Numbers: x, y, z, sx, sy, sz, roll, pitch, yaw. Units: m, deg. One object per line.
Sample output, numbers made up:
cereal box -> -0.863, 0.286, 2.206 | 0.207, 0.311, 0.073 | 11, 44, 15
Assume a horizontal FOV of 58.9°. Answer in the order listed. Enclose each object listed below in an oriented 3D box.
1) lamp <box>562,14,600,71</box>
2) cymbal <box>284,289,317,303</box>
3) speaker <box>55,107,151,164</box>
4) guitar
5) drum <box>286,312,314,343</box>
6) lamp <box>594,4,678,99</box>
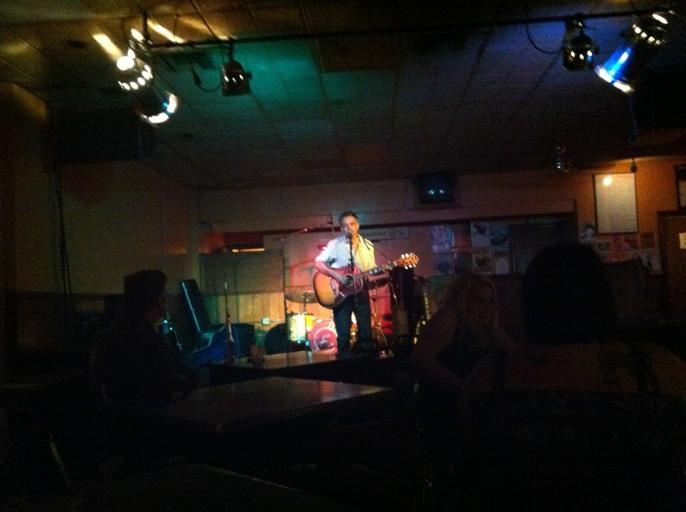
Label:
lamp -> 1.324, -1.164, 3.357 | 0.237, 0.267, 0.160 | 7, 21, 18
cymbal -> -0.385, 0.365, 5.479 | 0.260, 0.127, 0.248 | -4, -3, -7
speaker -> -1.508, -0.749, 3.840 | 0.442, 0.425, 0.118 | -2, -19, -8
guitar -> 0.091, 0.175, 4.257 | 0.802, 0.351, 0.125 | -22, -13, 28
drum -> -0.402, 0.668, 5.710 | 0.240, 0.317, 0.271 | -12, -17, 32
lamp -> 1.558, -1.049, 3.211 | 0.408, 0.358, 0.153 | -5, -3, 28
